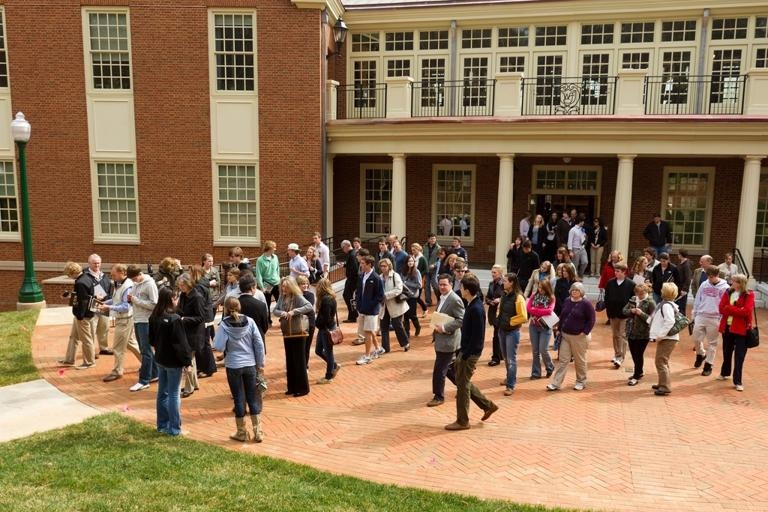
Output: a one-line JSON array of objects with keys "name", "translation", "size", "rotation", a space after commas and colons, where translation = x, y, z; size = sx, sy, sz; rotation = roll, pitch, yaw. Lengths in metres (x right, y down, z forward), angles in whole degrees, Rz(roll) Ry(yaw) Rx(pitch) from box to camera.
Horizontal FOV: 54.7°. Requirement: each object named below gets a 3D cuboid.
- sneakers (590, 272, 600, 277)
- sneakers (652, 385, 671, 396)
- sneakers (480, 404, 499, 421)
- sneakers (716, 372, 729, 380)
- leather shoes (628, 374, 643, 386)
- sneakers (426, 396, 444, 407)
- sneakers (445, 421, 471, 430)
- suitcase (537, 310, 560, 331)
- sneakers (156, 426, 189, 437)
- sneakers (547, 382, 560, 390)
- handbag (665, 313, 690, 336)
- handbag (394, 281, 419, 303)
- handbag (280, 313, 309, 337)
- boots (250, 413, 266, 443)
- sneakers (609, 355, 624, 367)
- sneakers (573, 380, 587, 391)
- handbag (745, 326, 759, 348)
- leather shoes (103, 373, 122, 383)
[{"name": "sneakers", "translation": [7.272, 0.668, 25.569], "size": [0.229, 0.160, 0.484], "rotation": [-8, -2, -26]}, {"name": "sneakers", "translation": [6.239, 3.089, 16.767], "size": [0.455, 0.155, 0.182], "rotation": [4, -31, 39]}, {"name": "sneakers", "translation": [2.207, 3.264, 15.481], "size": [0.242, 0.187, 0.563], "rotation": [7, -44, -7]}, {"name": "sneakers", "translation": [7.993, 2.882, 17.559], "size": [0.281, 0.116, 0.101], "rotation": [1, 9, 2]}, {"name": "leather shoes", "translation": [5.775, 2.895, 17.171], "size": [0.165, 0.226, 0.483], "rotation": [-6, -7, 41]}, {"name": "sneakers", "translation": [1.108, 3.202, 16.161], "size": [0.333, 0.135, 0.183], "rotation": [-1, -5, -18]}, {"name": "sneakers", "translation": [1.510, 3.500, 15.291], "size": [0.373, 0.143, 0.206], "rotation": [3, -4, 4]}, {"name": "suitcase", "translation": [3.738, 1.482, 16.797], "size": [0.386, 0.403, 0.095], "rotation": [-45, 4, 1]}, {"name": "sneakers", "translation": [-4.256, 3.548, 14.947], "size": [0.621, 0.260, 0.209], "rotation": [1, 0, -6]}, {"name": "sneakers", "translation": [3.824, 2.995, 16.824], "size": [0.289, 0.127, 0.113], "rotation": [10, -11, -39]}, {"name": "handbag", "translation": [6.613, 1.538, 16.678], "size": [0.263, 0.517, 0.706], "rotation": [3, 6, 41]}, {"name": "handbag", "translation": [0.505, 0.946, 18.981], "size": [0.563, 0.394, 0.569], "rotation": [-27, -18, 25]}, {"name": "handbag", "translation": [-1.968, 1.558, 16.288], "size": [0.572, 0.554, 0.398], "rotation": [0, -1, 8]}, {"name": "boots", "translation": [-2.558, 3.461, 14.997], "size": [0.231, 0.571, 0.451], "rotation": [-2, 5, -11]}, {"name": "sneakers", "translation": [5.727, 2.641, 18.265], "size": [0.157, 0.183, 0.442], "rotation": [12, -10, 26]}, {"name": "sneakers", "translation": [4.442, 2.995, 16.908], "size": [0.119, 0.140, 0.359], "rotation": [-1, -6, 34]}, {"name": "handbag", "translation": [8.430, 1.882, 17.070], "size": [0.512, 0.487, 0.192], "rotation": [-12, 11, -42]}, {"name": "leather shoes", "translation": [-6.248, 2.839, 17.091], "size": [0.402, 0.145, 0.145], "rotation": [1, 7, -16]}]
